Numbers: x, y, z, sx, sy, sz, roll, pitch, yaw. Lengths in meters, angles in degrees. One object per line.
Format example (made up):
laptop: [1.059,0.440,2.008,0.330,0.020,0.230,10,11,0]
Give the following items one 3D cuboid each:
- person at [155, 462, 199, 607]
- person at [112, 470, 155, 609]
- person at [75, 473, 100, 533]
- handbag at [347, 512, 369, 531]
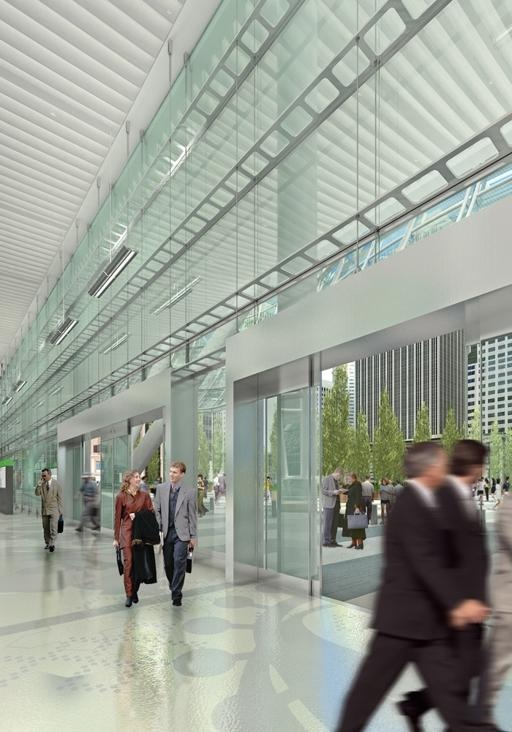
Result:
person: [-1.002,2.180,7.064,0.448,1.490,0.619,1,-7,-25]
person: [-1.557,2.181,7.151,0.480,1.617,0.503,1,-7,-30]
person: [-4.929,4.080,16.511,0.492,1.696,1.538,0,-7,-16]
handbag: [1.797,2.747,9.943,0.341,0.356,0.119,-4,8,14]
